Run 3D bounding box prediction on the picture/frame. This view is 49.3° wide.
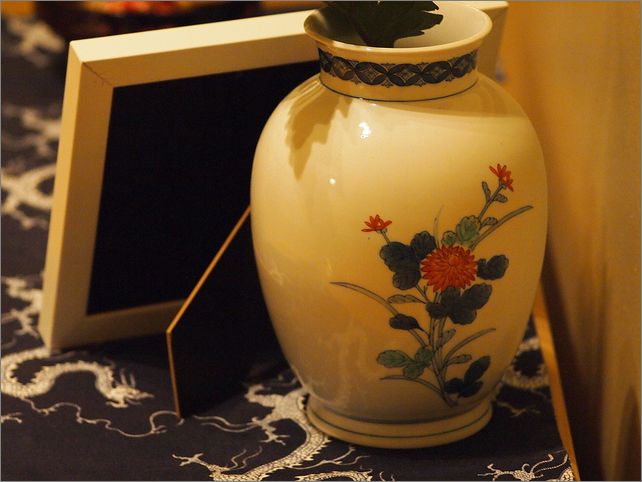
[{"bbox_3d":[-0.158,-0.050,0.792,0.365,0.413,0.039,-16,32,-22],"label":"picture/frame"}]

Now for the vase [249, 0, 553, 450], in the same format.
[{"bbox_3d":[0.090,-0.057,0.839,0.340,0.503,0.372,-2,16,-5],"label":"vase"}]
